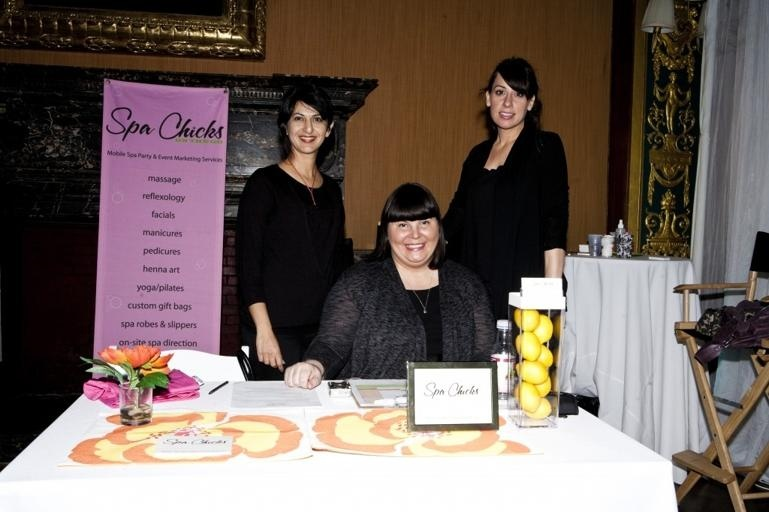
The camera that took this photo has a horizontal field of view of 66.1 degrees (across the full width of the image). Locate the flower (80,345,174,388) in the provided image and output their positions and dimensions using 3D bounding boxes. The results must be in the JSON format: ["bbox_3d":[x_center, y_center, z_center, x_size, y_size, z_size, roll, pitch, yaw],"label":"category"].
[{"bbox_3d":[-0.872,0.374,2.080,0.281,0.140,0.204,-1,5,4],"label":"flower"}]

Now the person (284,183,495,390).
[{"bbox_3d":[0.029,0.100,2.579,0.909,0.833,0.392,-3,5,-19],"label":"person"}]

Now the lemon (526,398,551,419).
[{"bbox_3d":[0.520,0.529,2.035,0.075,0.060,0.058,-1,-13,-6],"label":"lemon"}]

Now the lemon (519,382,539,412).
[{"bbox_3d":[0.490,0.488,2.018,0.068,0.071,0.091,0,30,-6],"label":"lemon"}]

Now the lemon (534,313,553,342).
[{"bbox_3d":[0.542,0.243,2.011,0.047,0.088,0.067,-1,3,25],"label":"lemon"}]

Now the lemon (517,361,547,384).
[{"bbox_3d":[0.498,0.397,2.014,0.088,0.069,0.065,12,23,8],"label":"lemon"}]

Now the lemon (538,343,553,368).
[{"bbox_3d":[0.545,0.337,2.016,0.050,0.073,0.042,-6,10,-11],"label":"lemon"}]

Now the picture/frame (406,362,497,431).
[{"bbox_3d":[0.218,0.474,1.984,0.218,0.162,0.026,1,-4,-6],"label":"picture/frame"}]

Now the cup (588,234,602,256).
[{"bbox_3d":[1.495,-0.076,4.207,0.091,0.142,0.199,1,5,19],"label":"cup"}]

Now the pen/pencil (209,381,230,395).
[{"bbox_3d":[-0.641,0.513,2.315,0.016,0.015,0.102,12,20,29],"label":"pen/pencil"}]

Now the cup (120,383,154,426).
[{"bbox_3d":[-0.834,0.515,2.066,0.127,0.150,0.128,1,-3,0],"label":"cup"}]

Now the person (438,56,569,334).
[{"bbox_3d":[0.605,-0.054,3.180,0.695,1.878,0.646,6,18,29],"label":"person"}]

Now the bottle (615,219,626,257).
[{"bbox_3d":[1.675,-0.133,4.229,0.070,0.251,0.242,1,5,21],"label":"bottle"}]

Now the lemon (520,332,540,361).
[{"bbox_3d":[0.488,0.309,2.001,0.064,0.067,0.087,-1,50,-2],"label":"lemon"}]

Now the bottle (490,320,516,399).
[{"bbox_3d":[0.433,0.380,2.158,0.078,0.319,0.295,0,5,10],"label":"bottle"}]
